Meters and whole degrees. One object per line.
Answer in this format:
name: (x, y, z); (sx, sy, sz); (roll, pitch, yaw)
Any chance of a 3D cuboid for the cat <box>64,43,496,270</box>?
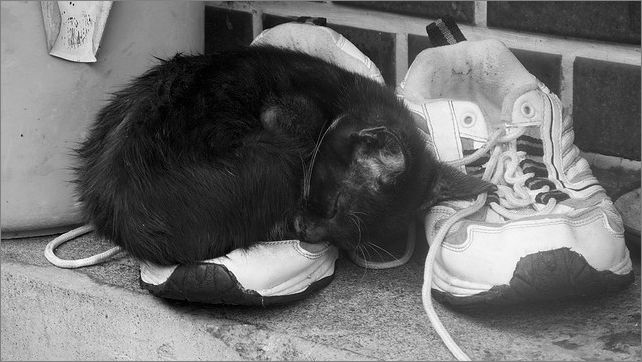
cat: (-0.086, -0.031, 1.590); (0.941, 0.374, 0.501); (3, 37, 10)
